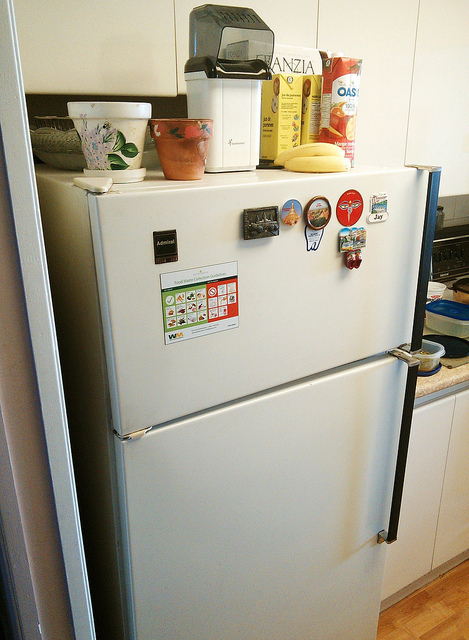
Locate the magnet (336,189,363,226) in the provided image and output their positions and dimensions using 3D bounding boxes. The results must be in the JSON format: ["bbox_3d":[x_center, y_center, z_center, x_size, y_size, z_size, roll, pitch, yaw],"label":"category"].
[{"bbox_3d":[0.197,-0.193,0.879,0.062,0.058,0.012,-20,29,-38],"label":"magnet"}]

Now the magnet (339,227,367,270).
[{"bbox_3d":[0.206,-0.129,0.902,0.055,0.077,0.019,-12,18,-36],"label":"magnet"}]

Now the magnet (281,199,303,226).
[{"bbox_3d":[0.091,-0.170,0.810,0.010,0.042,0.045,20,31,41],"label":"magnet"}]

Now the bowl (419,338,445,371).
[{"bbox_3d":[0.547,0.102,1.427,0.079,0.036,0.074,0,18,0],"label":"bowl"}]

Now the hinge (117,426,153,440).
[{"bbox_3d":[-0.148,0.171,0.770,0.053,0.011,0.013,-12,26,-24],"label":"hinge"}]

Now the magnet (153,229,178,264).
[{"bbox_3d":[-0.096,-0.102,0.699,0.037,0.048,0.007,-14,24,-35],"label":"magnet"}]

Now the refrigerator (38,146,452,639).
[{"bbox_3d":[0.052,0.293,1.079,0.714,1.186,0.269,-12,25,-26],"label":"refrigerator"}]
